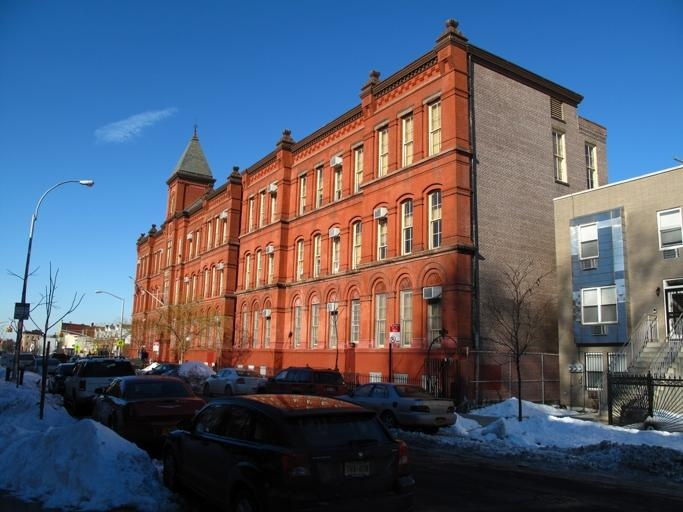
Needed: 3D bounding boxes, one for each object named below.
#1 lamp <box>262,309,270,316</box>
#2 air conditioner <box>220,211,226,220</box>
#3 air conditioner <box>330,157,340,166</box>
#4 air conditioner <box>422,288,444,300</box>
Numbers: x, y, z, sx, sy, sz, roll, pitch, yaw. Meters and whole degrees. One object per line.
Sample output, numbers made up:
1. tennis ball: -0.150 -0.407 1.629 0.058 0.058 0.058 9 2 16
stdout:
1. lamp: -5.249 3.990 41.824 0.617 0.608 0.462 -3 -16 8
2. air conditioner: -9.804 -3.403 49.413 0.317 0.433 0.583 11 -19 -29
3. air conditioner: -0.372 -5.714 36.371 0.453 0.592 0.828 7 -12 -20
4. air conditioner: 4.151 1.668 27.338 0.667 0.528 0.954 16 -18 -40
